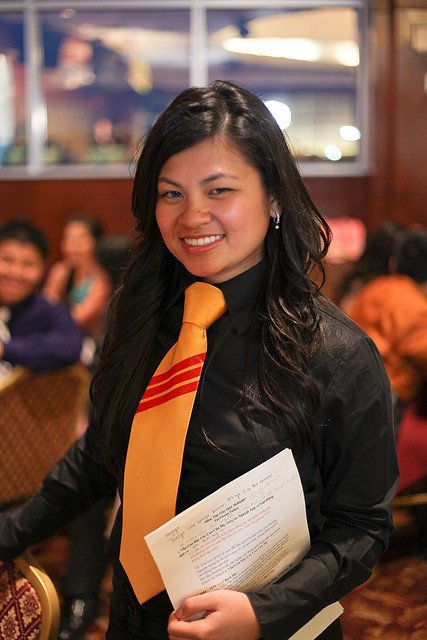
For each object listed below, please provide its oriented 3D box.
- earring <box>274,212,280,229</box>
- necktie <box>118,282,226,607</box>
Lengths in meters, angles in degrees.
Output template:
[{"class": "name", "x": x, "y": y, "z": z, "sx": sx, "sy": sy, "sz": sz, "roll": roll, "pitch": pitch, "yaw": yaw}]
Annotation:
[{"class": "earring", "x": 0.090, "y": -0.140, "z": 0.789, "sx": 0.007, "sy": 0.023, "sz": 0.006, "roll": 4, "pitch": 14, "yaw": 36}, {"class": "necktie", "x": -0.054, "y": 0.153, "z": 0.760, "sx": 0.093, "sy": 0.387, "sz": 0.204, "roll": 1, "pitch": 12, "yaw": 25}]
